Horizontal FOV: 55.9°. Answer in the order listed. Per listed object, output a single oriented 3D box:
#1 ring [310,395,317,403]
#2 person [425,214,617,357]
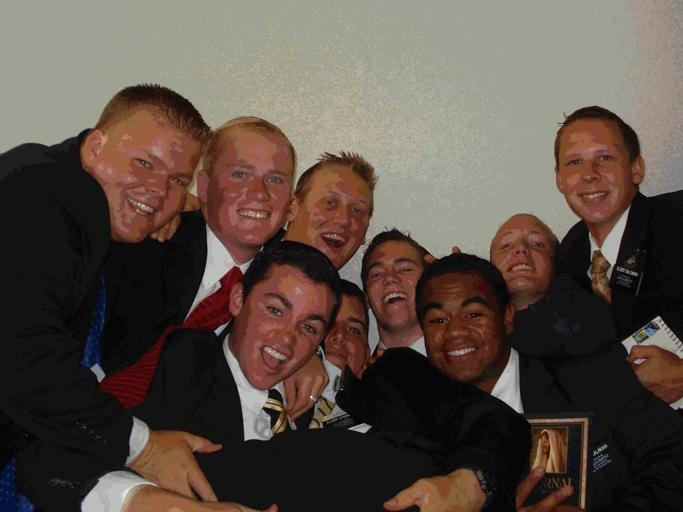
[{"bbox_3d":[-0.185,0.938,4.245,0.040,0.048,0.021,22,-1,25],"label":"ring"},{"bbox_3d":[1.188,0.227,4.442,0.831,0.687,0.412,-18,-18,0],"label":"person"}]
